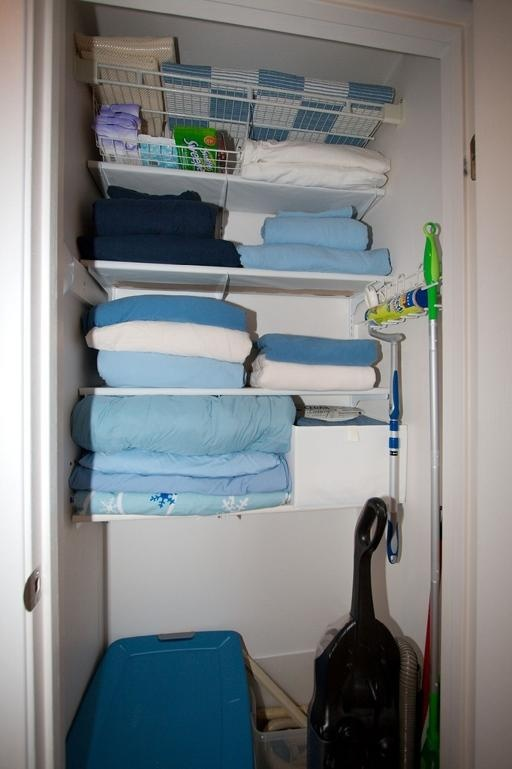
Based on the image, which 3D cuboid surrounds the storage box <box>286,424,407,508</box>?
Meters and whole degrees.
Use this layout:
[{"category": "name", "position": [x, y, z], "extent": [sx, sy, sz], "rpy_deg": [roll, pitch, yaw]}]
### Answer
[{"category": "storage box", "position": [0.208, 0.197, 1.586], "extent": [0.203, 0.139, 0.211], "rpy_deg": [0, -3, -12]}]
